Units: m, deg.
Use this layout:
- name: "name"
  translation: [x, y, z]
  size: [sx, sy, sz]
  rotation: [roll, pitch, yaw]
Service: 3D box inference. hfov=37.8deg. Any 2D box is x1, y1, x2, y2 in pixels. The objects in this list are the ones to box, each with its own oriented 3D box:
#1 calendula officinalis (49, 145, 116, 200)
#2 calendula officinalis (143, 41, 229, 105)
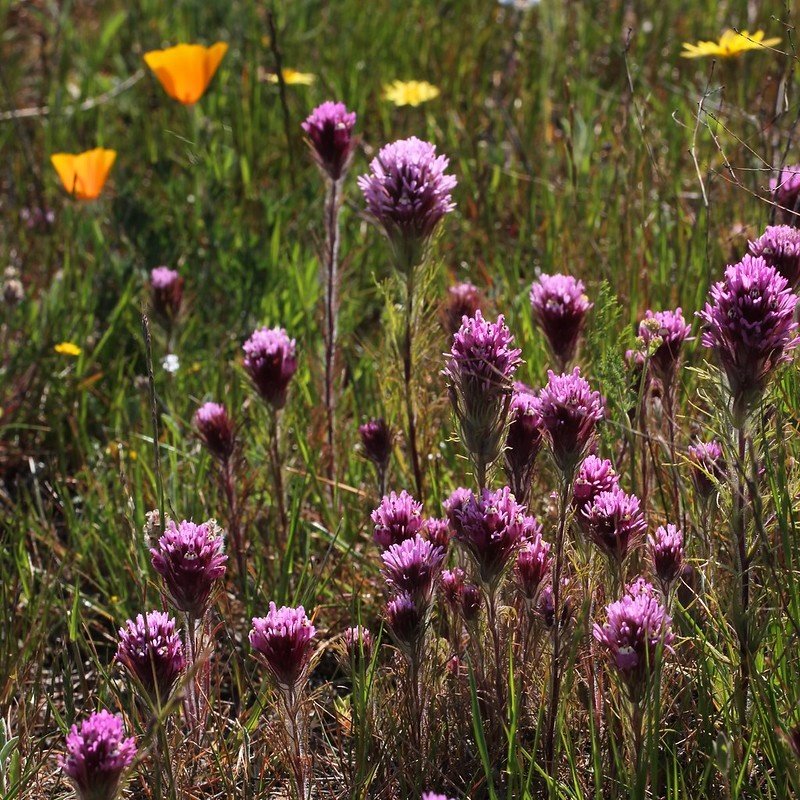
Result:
- name: "calendula officinalis"
  translation: [-0.860, -0.619, 3.175]
  size: [0.141, 0.163, 0.140]
  rotation: [-1, 7, 37]
- name: "calendula officinalis"
  translation: [-0.576, -0.863, 3.099]
  size: [0.133, 0.163, 0.181]
  rotation: [-6, -5, -21]
